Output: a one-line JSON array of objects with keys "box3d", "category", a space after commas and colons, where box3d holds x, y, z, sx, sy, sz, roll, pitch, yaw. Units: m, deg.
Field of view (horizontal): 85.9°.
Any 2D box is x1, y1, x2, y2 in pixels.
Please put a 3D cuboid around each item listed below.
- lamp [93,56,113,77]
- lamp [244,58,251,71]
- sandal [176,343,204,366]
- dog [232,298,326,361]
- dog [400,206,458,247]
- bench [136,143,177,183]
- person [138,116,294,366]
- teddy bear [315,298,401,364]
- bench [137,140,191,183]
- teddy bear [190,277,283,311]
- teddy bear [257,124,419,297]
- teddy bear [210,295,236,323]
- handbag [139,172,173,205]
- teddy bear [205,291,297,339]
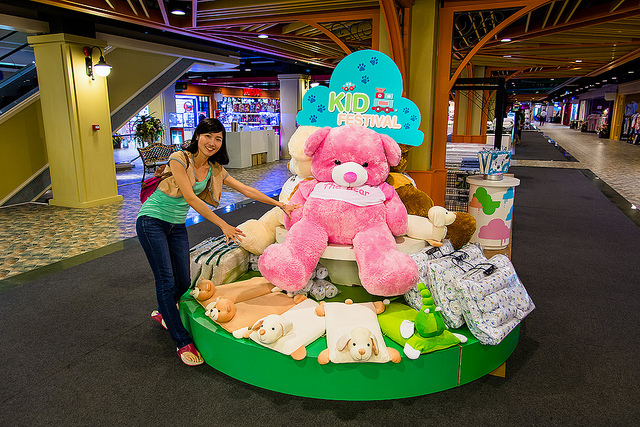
[{"box3d": [-4.302, -2.933, 6.839, 0.371, 0.412, 0.376, 16, 23, 35], "category": "lamp"}, {"box3d": [-3.412, -6.976, 15.919, 0.371, 0.347, 0.657, -2, 9, -3], "category": "lamp"}, {"box3d": [-1.114, 1.146, 2.856, 0.266, 0.106, 0.110, 14, 10, 34], "category": "sandal"}, {"box3d": [-0.247, 0.856, 2.615, 0.712, 0.261, 0.495, -11, 20, -33], "category": "dog"}, {"box3d": [1.079, 0.087, 3.344, 0.525, 0.348, 0.354, 10, 19, 40], "category": "dog"}, {"box3d": [-4.820, -1.737, 10.043, 0.554, 0.650, 1.328, 1, 17, 3], "category": "bench"}, {"box3d": [-1.068, 0.107, 3.230, 1.179, 1.957, 1.374, -9, 20, -28], "category": "person"}, {"box3d": [0.261, 0.875, 2.581, 0.589, 0.272, 0.569, -1, 17, -5], "category": "teddy bear"}, {"box3d": [-4.600, -1.641, 10.276, 0.525, 0.832, 1.617, 34, 34, 25], "category": "bench"}, {"box3d": [-0.788, 0.699, 3.096, 0.573, 0.179, 0.353, -2, 6, -35], "category": "teddy bear"}, {"box3d": [0.218, -0.103, 3.016, 1.263, 1.264, 1.048, 3, 17, 8], "category": "teddy bear"}, {"box3d": [-0.785, 0.761, 2.799, 0.195, 0.151, 0.162, -14, 28, -42], "category": "teddy bear"}, {"box3d": [-1.367, -0.212, 2.842, 0.300, 0.194, 0.156, -22, -6, -4], "category": "handbag"}, {"box3d": [-0.551, 0.770, 2.982, 0.734, 0.214, 0.714, -15, 8, -27], "category": "teddy bear"}]
